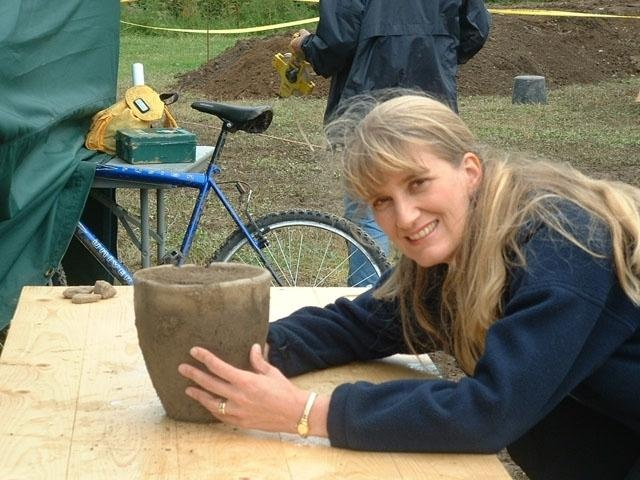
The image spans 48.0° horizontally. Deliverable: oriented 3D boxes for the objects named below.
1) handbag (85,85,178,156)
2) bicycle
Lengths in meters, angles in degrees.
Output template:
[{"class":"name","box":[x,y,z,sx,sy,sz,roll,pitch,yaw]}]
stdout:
[{"class":"handbag","box":[-0.900,-0.561,3.580,0.441,0.165,0.290,-32,28,-26]},{"class":"bicycle","box":[-0.380,-0.203,3.749,1.813,1.015,0.859,4,1,-5]}]
